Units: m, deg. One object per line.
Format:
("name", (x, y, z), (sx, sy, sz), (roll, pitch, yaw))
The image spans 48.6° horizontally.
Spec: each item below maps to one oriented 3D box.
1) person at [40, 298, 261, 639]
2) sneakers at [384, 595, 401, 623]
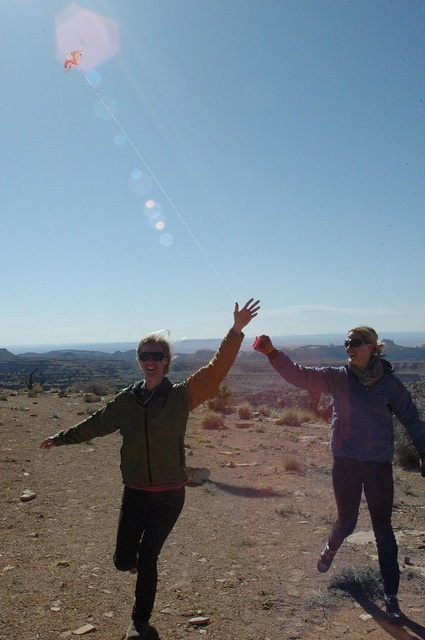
("person", (-0.406, 1.013, 3.360), (1.394, 2.347, 0.688), (1, -3, 10))
("sneakers", (1.296, 2.066, 3.424), (0.068, 0.094, 0.203), (8, 31, -7))
